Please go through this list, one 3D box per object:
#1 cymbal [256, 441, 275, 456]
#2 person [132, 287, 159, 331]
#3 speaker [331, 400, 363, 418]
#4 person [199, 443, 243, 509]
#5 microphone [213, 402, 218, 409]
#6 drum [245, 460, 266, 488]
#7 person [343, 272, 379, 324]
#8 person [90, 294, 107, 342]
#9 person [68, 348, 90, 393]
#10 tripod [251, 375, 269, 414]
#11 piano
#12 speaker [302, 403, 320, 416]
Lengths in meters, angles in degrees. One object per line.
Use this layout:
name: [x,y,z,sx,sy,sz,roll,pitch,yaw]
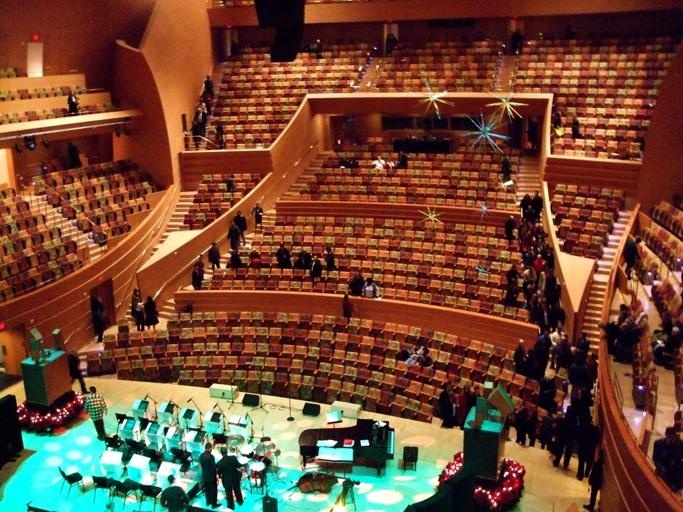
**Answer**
cymbal: [-1.675,4.345,11.575,0.444,0.221,0.402,-5,18,-19]
person: [-6.705,1.877,17.780,0.987,1.672,0.742,1,22,-3]
speaker: [0.110,3.978,13.355,0.688,0.428,0.371,4,16,10]
person: [-2.401,4.518,10.474,0.796,1.291,0.316,-4,15,-16]
microphone: [-3.356,4.021,13.906,0.131,0.077,0.195,1,-1,-5]
drum: [-1.804,4.649,11.033,0.417,0.517,0.395,3,10,-1]
person: [0.602,1.328,17.241,1.148,1.416,0.829,-3,16,-13]
person: [-8.350,2.187,17.948,0.432,1.469,0.905,-7,17,-26]
person: [-7.610,3.371,15.051,0.401,1.384,2.101,-7,19,-28]
tripod: [-2.173,4.037,14.478,0.356,0.360,1.533,-1,17,-6]
piano: [0.100,4.138,11.427,1.479,0.556,1.160,0,21,8]
speaker: [-0.773,3.977,13.358,0.266,0.226,0.097,6,-9,16]
